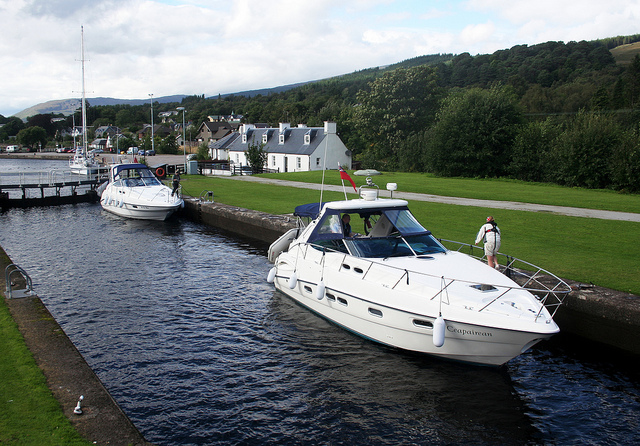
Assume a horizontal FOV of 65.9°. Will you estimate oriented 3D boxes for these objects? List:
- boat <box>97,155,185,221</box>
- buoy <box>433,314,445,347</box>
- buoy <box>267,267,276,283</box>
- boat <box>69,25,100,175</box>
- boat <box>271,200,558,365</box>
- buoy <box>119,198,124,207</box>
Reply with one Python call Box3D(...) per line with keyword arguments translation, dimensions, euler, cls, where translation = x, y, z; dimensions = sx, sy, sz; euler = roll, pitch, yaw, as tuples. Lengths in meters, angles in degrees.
Box3D(translation=(-12.472, -2.124, 35.072), dimensions=(3.686, 3.268, 8.064), euler=(-8, 17, -37), cls="boat")
Box3D(translation=(3.292, 2.936, 13.516), dimensions=(0.289, 0.749, 0.504), euler=(1, 14, 14), cls="buoy")
Box3D(translation=(-1.856, 1.957, 18.824), dimensions=(0.305, 0.509, 0.166), euler=(18, -27, 0), cls="buoy")
Box3D(translation=(-31.751, -16.014, 65.812), dimensions=(4.490, 19.858, 16.002), euler=(-3, 9, -29), cls="boat")
Box3D(translation=(2.978, 1.952, 16.461), dimensions=(4.444, 3.610, 8.920), euler=(-16, 25, -39), cls="boat")
Box3D(translation=(-13.803, -1.382, 34.025), dimensions=(0.172, 0.396, 0.317), euler=(2, 15, -45), cls="buoy")
